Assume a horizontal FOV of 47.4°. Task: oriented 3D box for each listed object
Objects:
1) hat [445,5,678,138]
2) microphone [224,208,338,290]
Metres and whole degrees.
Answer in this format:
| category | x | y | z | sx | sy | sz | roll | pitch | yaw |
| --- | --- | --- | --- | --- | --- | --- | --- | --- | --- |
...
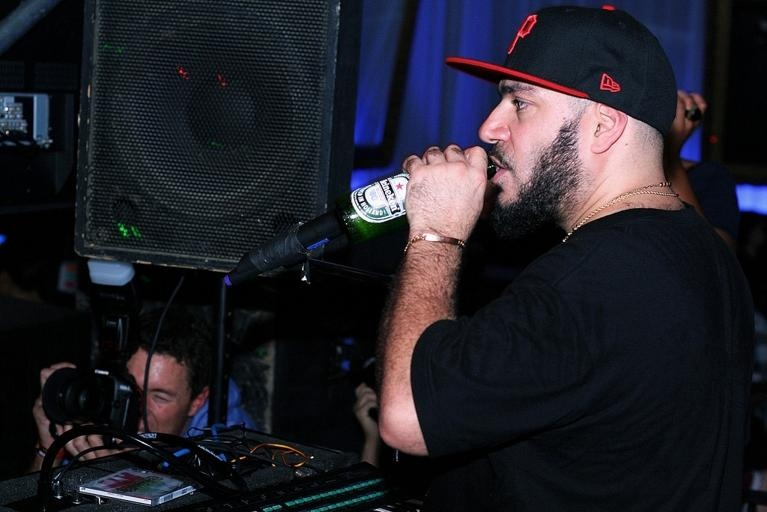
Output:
| category | x | y | z | sx | sy | sz | roll | pitch | yaw |
| --- | --- | --- | --- | --- | --- | --- | --- | --- | --- |
| hat | 0.449 | -0.446 | 2.070 | 0.368 | 0.201 | 0.281 | 8 | 8 | 4 |
| microphone | -0.259 | -0.027 | 2.207 | 0.273 | 0.075 | 0.094 | -30 | 22 | 26 |
